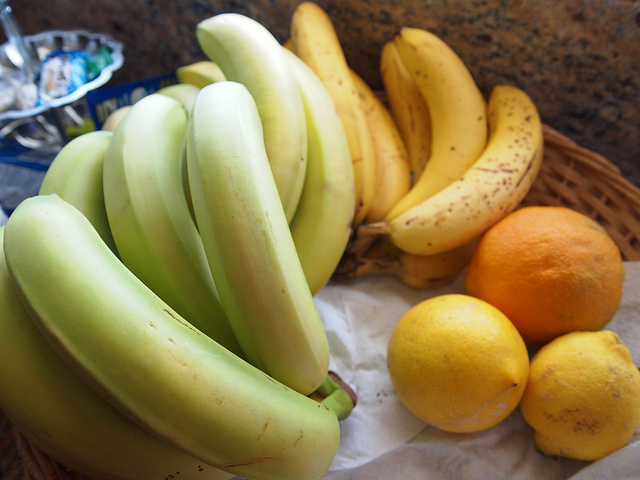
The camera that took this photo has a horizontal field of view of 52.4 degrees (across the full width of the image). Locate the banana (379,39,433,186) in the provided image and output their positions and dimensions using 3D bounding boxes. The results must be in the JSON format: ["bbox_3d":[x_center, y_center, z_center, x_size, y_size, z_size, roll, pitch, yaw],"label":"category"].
[{"bbox_3d":[0.161,-0.199,1.178,0.065,0.092,0.302,-14,103,1],"label":"banana"}]

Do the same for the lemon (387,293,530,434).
[{"bbox_3d":[0.201,0.176,0.950,0.202,0.126,0.159,29,54,12],"label":"lemon"}]

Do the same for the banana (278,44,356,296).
[{"bbox_3d":[0.008,-0.090,1.048,0.099,0.125,0.402,-10,87,23],"label":"banana"}]

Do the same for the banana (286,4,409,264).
[{"bbox_3d":[0.053,-0.181,1.102,0.138,0.171,0.566,-6,80,1],"label":"banana"}]

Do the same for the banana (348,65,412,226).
[{"bbox_3d":[0.086,-0.167,1.182,0.083,0.099,0.315,-22,71,11],"label":"banana"}]

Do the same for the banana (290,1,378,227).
[{"bbox_3d":[0.007,-0.238,1.165,0.132,0.109,0.436,-16,85,-53],"label":"banana"}]
